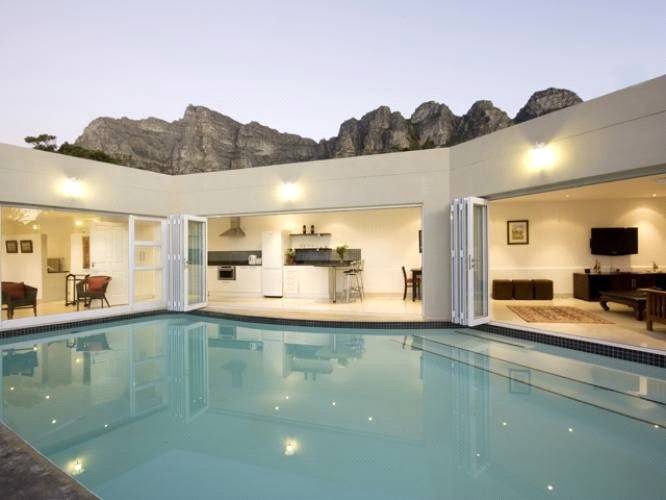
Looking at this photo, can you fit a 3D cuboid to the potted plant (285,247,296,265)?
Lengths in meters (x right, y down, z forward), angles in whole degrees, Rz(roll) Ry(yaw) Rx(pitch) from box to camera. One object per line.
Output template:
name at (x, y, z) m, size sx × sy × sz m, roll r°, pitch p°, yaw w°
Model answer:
potted plant at (-1.399, 0.218, 15.379) m, size 0.378 × 0.592 × 0.381 m, roll -2°, pitch -5°, yaw 14°

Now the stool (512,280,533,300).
stool at (5.668, 1.199, 14.136) m, size 0.496 × 0.545 × 0.521 m, roll 0°, pitch -3°, yaw 13°

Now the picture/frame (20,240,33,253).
picture/frame at (-9.200, -0.132, 14.131) m, size 0.347 × 0.390 × 0.030 m, roll 1°, pitch 1°, yaw 3°

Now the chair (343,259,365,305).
chair at (0.637, 0.877, 14.513) m, size 0.624 × 1.414 × 1.317 m, roll 1°, pitch 15°, yaw 3°

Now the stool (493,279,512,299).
stool at (5.042, 1.184, 14.074) m, size 0.493 × 0.527 × 0.509 m, roll 2°, pitch -3°, yaw -22°

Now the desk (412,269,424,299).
desk at (2.504, 1.049, 14.215) m, size 0.274 × 0.933 × 0.720 m, roll 2°, pitch 15°, yaw 6°

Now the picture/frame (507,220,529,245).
picture/frame at (5.764, -0.526, 14.681) m, size 0.692 × 0.932 × 0.067 m, roll 1°, pitch -3°, yaw 8°

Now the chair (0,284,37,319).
chair at (-7.876, 1.309, 11.929) m, size 0.856 × 1.121 × 0.843 m, roll -5°, pitch -7°, yaw 35°

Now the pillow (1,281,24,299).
pillow at (-7.985, 1.012, 11.721) m, size 0.413 × 0.386 × 0.198 m, roll -4°, pitch -39°, yaw -41°

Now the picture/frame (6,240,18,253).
picture/frame at (-9.656, -0.109, 14.183) m, size 0.342 × 0.414 × 0.044 m, roll 0°, pitch 7°, yaw -8°

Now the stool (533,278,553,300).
stool at (6.138, 1.162, 13.789) m, size 0.516 × 0.603 × 0.547 m, roll 0°, pitch -1°, yaw 8°

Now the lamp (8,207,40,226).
lamp at (-9.611, -1.055, 14.578) m, size 0.475 × 0.311 × 0.647 m, roll 0°, pitch 3°, yaw 13°
